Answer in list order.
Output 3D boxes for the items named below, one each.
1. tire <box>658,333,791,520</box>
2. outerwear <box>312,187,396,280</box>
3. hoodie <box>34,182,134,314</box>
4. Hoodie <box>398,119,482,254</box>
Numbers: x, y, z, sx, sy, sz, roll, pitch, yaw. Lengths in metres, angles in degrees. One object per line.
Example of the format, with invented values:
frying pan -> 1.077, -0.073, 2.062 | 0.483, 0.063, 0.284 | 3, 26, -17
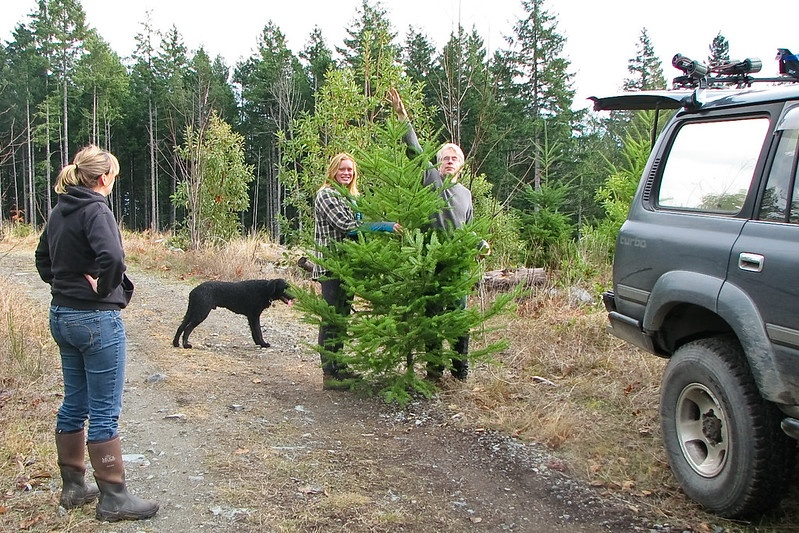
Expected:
tire -> 2.729, 1.311, 5.080 | 0.438, 1.335, 1.190 | 0, -27, -26
outerwear -> -0.613, -0.358, 6.915 | 0.953, 1.042, 0.538 | 6, 9, 13
hoodie -> -2.680, -0.133, 5.324 | 1.262, 1.030, 0.654 | 2, 0, 34
Hoodie -> 0.507, -0.922, 6.998 | 1.050, 1.360, 0.866 | 5, 9, 8
